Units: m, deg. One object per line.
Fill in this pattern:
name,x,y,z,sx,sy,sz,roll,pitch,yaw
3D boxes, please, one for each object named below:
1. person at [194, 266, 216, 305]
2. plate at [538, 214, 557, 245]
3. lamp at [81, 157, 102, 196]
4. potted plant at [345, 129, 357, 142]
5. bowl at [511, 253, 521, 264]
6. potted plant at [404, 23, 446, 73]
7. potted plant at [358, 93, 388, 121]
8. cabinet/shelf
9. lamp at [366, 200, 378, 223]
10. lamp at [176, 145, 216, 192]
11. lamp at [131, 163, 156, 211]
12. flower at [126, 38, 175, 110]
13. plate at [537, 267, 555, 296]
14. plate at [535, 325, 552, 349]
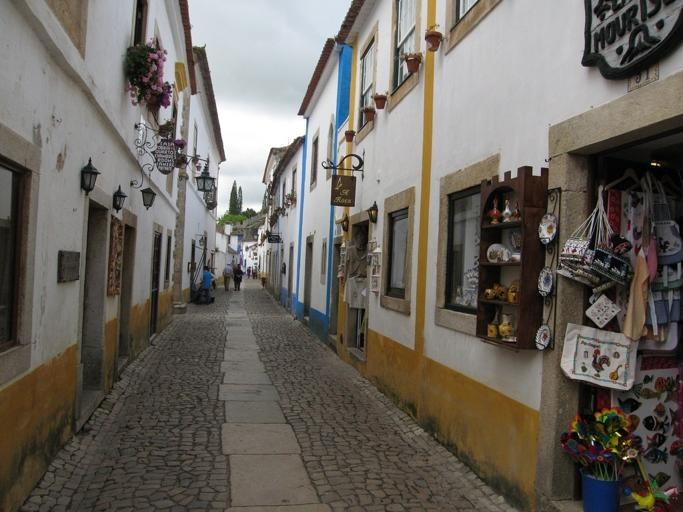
person,-4.995,0.983,20.611,0.522,1.606,0.400,3,26,-19
plate,1.760,-0.248,4.821,0.048,0.252,0.187,0,3,-28
lamp,-2.729,-0.874,6.049,0.179,0.372,0.188,7,0,24
potted plant,0.170,-2.403,10.950,0.187,0.241,0.206,1,-8,-4
bowl,1.545,0.011,4.996,0.054,0.090,0.211,2,3,9
potted plant,1.038,-2.732,7.246,0.237,0.483,0.922,1,3,-13
potted plant,0.564,-2.608,9.451,0.338,0.336,0.640,-4,-11,-18
cabinet/shelf,1.548,-0.009,5.265,0.479,1.596,0.885,2,2,3
lamp,0.500,-0.734,9.290,0.133,0.353,0.302,1,2,-9
lamp,-3.278,-2.004,12.399,0.893,1.141,0.363,6,-9,-19
lamp,-3.384,-1.244,9.619,0.384,0.878,0.220,4,-19,-12
flower,-2.766,-2.574,8.028,0.546,0.823,0.771,1,2,-10
plate,1.745,0.203,4.817,0.057,0.239,0.163,1,2,-18
plate,1.717,0.686,4.809,0.068,0.217,0.139,1,3,-27
